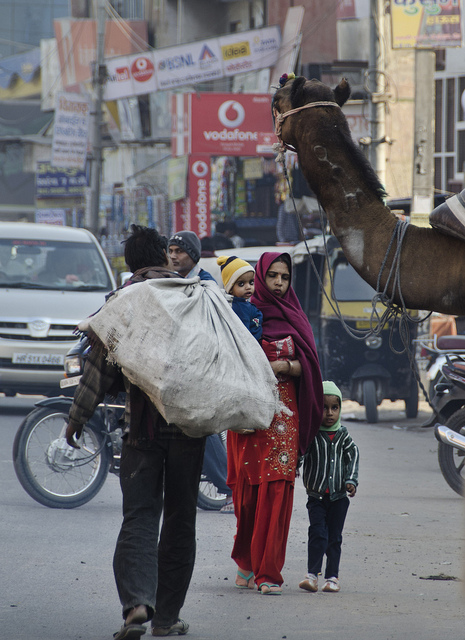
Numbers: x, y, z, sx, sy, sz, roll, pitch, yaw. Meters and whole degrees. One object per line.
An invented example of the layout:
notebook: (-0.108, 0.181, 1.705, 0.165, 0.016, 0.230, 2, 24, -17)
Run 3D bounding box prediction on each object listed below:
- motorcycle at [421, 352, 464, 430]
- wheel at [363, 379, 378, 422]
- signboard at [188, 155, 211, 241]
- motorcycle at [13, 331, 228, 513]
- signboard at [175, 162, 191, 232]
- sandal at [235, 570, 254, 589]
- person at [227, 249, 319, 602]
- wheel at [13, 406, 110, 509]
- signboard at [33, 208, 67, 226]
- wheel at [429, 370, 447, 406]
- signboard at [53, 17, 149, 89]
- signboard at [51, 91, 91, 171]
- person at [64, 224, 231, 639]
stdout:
motorcycle: (1.584, 0.541, 11.677, 0.297, 0.519, 0.539, 2, 7, 7)
wheel: (1.419, 0.838, 16.085, 0.146, 0.478, 0.281, 1, 7, 7)
signboard: (-0.599, -2.382, 28.864, 0.428, 2.008, 0.189, 2, -21, -12)
motorcycle: (-0.485, 0.628, 10.881, 2.037, 1.413, 0.981, -1, 4, -11)
signboard: (-0.984, -2.285, 29.237, 0.265, 1.460, 0.158, 14, 36, 15)
sandal: (0.069, 1.489, 8.993, 0.097, 0.130, 0.069, 5, -5, 7)
person: (0.238, 0.572, 9.000, 0.467, 1.884, 0.674, 3, 7, 22)
wheel: (-1.159, 0.969, 10.710, 0.603, 0.740, 0.231, 16, -9, -19)
signboard: (-3.703, -2.102, 31.737, 0.680, 0.290, 0.550, -4, 9, -34)
wheel: (1.574, 0.496, 11.933, 0.105, 0.145, 0.218, 5, 1, 9)
signboard: (-3.009, -5.897, 34.613, 0.979, 1.466, 1.800, -8, 13, -39)
signboard: (-2.488, -2.926, 24.206, 0.451, 1.174, 1.046, 5, 8, 33)
person: (-0.415, 0.728, 7.909, 0.791, 1.839, 0.734, 1, 7, -1)
